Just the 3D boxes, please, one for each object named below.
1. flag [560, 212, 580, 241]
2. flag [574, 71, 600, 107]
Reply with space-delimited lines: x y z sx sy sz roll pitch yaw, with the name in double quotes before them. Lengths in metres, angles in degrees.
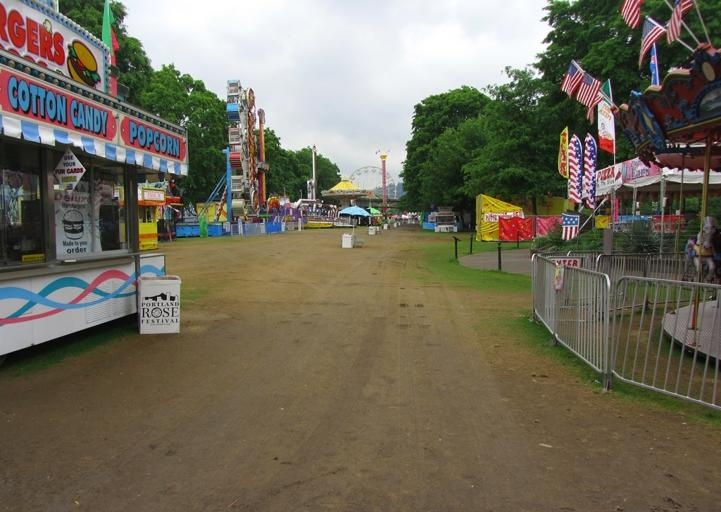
"flag" 7.410 -1.020 21.246 0.143 1.303 0.917 -17 22 -41
"flag" 7.191 -5.264 18.955 0.388 1.059 0.840 -1 4 -12
